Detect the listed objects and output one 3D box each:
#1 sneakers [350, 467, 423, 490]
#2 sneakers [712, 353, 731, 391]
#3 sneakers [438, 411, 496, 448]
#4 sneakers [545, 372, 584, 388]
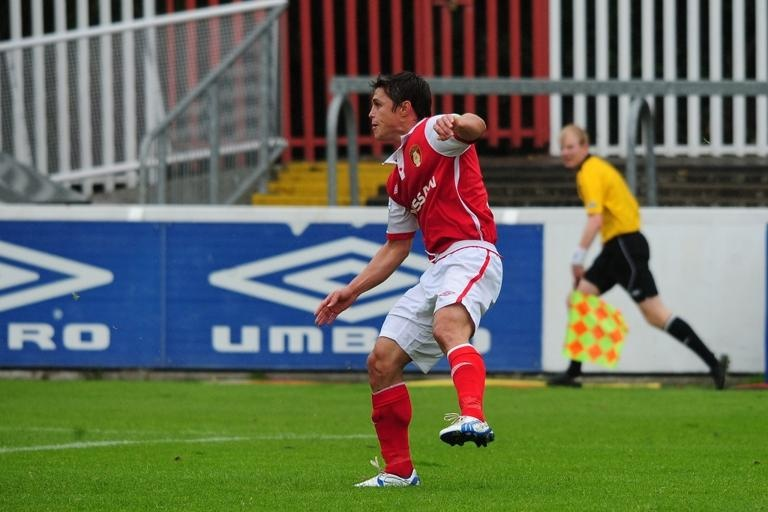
[{"bbox_3d":[0.040,1.671,13.638,0.467,0.157,0.171,0,-15,-3],"label":"sneakers"},{"bbox_3d":[2.771,0.949,14.965,0.126,0.308,0.100,10,7,3],"label":"sneakers"},{"bbox_3d":[0.562,1.256,13.081,0.495,0.187,0.268,5,40,-11],"label":"sneakers"},{"bbox_3d":[1.492,1.023,15.135,0.318,0.144,0.111,4,-1,22],"label":"sneakers"}]
